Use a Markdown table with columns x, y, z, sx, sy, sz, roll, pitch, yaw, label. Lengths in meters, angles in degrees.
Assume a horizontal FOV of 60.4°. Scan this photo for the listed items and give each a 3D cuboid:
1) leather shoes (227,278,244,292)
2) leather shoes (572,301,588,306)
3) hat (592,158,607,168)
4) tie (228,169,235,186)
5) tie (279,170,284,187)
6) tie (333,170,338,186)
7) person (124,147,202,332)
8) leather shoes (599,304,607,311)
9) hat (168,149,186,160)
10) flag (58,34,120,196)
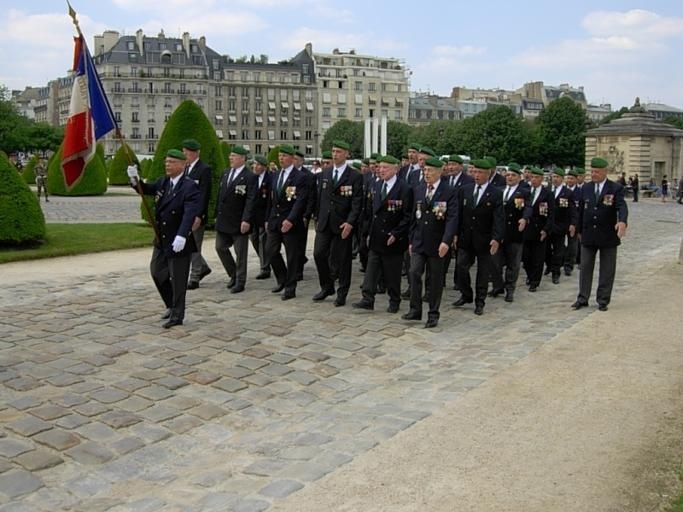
| x | y | z | sx | sy | sz | roll | pitch | yaw | label |
| --- | --- | --- | --- | --- | --- | --- | --- | --- | --- |
| -1.987 | 0.530 | 10.663 | 0.157 | 0.255 | 0.393 | -6 | -18 | 31 | leather shoes |
| 3.996 | 0.794 | 9.790 | 0.270 | 0.104 | 0.093 | 0 | 0 | -15 | leather shoes |
| 4.389 | -1.581 | 9.985 | 0.289 | 0.138 | 0.366 | 5 | 11 | 18 | hat |
| -2.143 | -1.568 | 11.425 | 0.149 | 0.256 | 0.155 | -2 | 11 | -12 | tie |
| -1.076 | -1.399 | 10.580 | 0.128 | 0.269 | 0.196 | -1 | 11 | -8 | tie |
| -0.086 | -1.378 | 10.197 | 0.092 | 0.247 | 0.163 | 0 | 11 | -1 | tie |
| -2.501 | -0.294 | 8.538 | 0.911 | 2.475 | 1.039 | -5 | 12 | -26 | person |
| 4.235 | 0.819 | 9.469 | 0.126 | 0.114 | 0.089 | 2 | 7 | 35 | leather shoes |
| -2.385 | -1.481 | 8.523 | 0.199 | 0.078 | 0.238 | 7 | 0 | 19 | hat |
| -3.711 | -2.086 | 8.548 | 0.775 | 2.189 | 0.746 | -4 | 12 | -23 | flag |
